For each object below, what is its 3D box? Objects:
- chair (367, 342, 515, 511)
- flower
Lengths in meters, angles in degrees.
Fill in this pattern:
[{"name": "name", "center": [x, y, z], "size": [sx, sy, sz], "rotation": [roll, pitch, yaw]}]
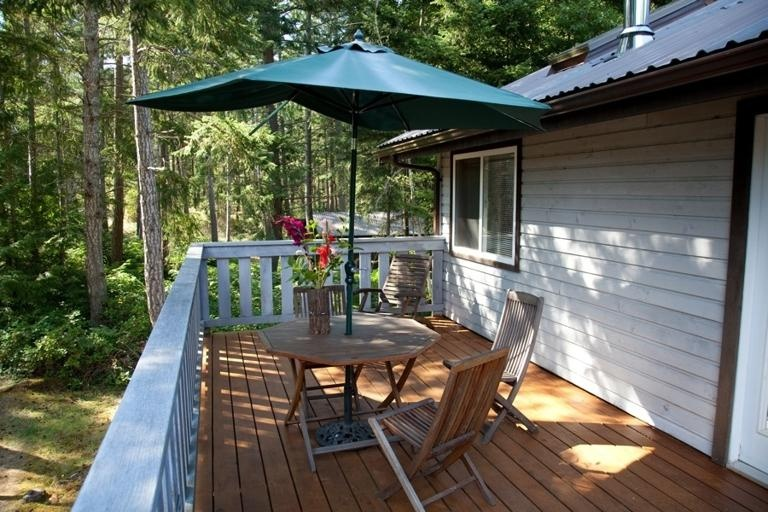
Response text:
[{"name": "chair", "center": [0.445, 1.337, 4.187], "size": [0.970, 1.294, 0.607], "rotation": [1, 5, 11]}, {"name": "flower", "center": [-0.616, -0.078, 5.203], "size": [0.825, 0.810, 0.892], "rotation": [10, 13, 41]}]
